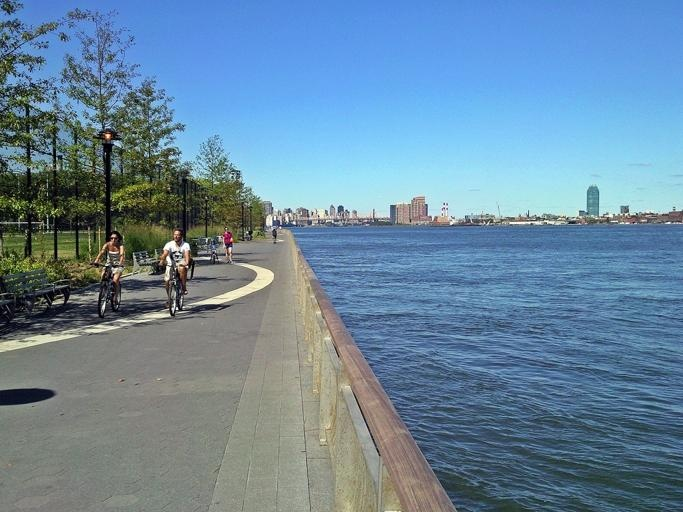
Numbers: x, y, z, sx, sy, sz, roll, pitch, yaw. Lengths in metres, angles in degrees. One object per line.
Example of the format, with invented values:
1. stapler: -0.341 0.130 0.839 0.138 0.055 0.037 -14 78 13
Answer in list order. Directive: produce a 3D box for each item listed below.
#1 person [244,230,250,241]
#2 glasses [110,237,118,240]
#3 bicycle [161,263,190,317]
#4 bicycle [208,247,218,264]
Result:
1. person: -11.848 -2.365 72.309 0.653 1.118 2.589 1 6 -7
2. glasses: -5.833 -0.432 14.733 0.172 0.063 0.216 1 6 -2
3. bicycle: -4.280 0.839 14.824 0.381 1.325 0.877 1 5 -10
4. bicycle: -7.325 -0.031 32.522 0.818 1.106 1.745 0 0 -10
